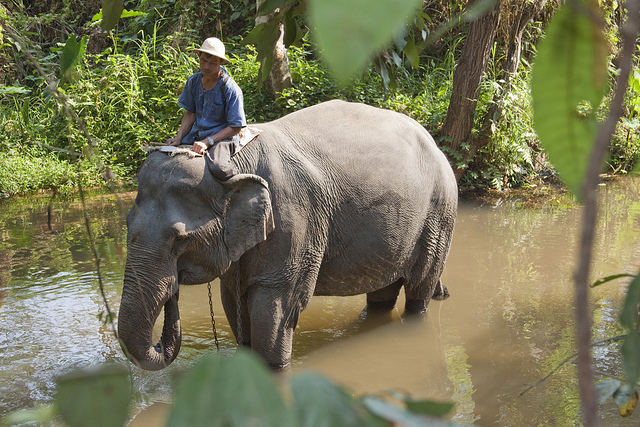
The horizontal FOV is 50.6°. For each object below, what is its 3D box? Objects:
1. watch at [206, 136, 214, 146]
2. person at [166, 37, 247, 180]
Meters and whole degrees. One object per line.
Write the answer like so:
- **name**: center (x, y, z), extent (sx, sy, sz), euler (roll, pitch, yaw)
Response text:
- **watch**: center (-0.740, -0.487, 4.505), extent (0.029, 0.046, 0.046), euler (-19, 25, -10)
- **person**: center (-0.796, -0.701, 4.715), extent (0.604, 1.003, 0.571), euler (17, 22, 27)
